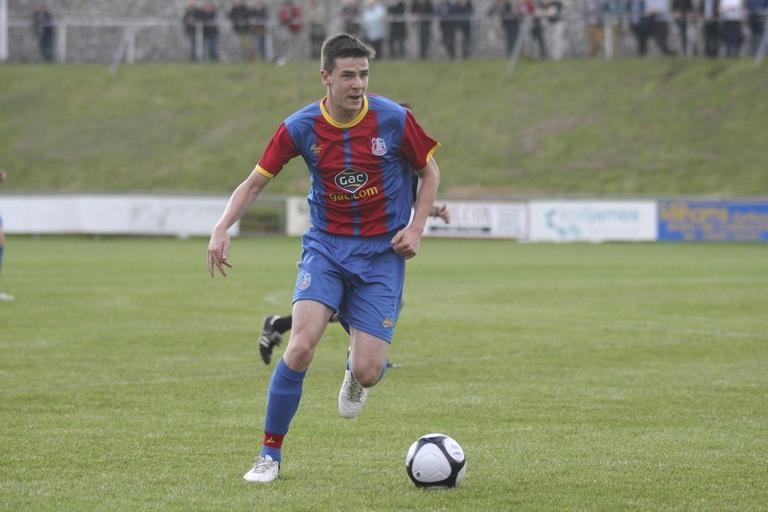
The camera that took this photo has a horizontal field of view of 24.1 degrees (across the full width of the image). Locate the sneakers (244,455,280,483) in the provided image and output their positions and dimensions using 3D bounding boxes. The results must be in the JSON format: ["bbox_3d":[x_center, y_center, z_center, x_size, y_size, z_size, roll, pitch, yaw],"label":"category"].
[{"bbox_3d":[-0.969,1.735,14.381,0.157,0.117,0.293,20,16,17],"label":"sneakers"}]

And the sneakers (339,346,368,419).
[{"bbox_3d":[-0.275,1.081,15.024,0.205,0.572,0.254,4,1,-22],"label":"sneakers"}]

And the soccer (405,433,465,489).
[{"bbox_3d":[0.428,1.670,14.433,0.423,0.414,0.422,-10,-31,1],"label":"soccer"}]

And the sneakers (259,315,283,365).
[{"bbox_3d":[-1.047,0.781,16.799,0.254,0.474,0.177,5,1,2],"label":"sneakers"}]
